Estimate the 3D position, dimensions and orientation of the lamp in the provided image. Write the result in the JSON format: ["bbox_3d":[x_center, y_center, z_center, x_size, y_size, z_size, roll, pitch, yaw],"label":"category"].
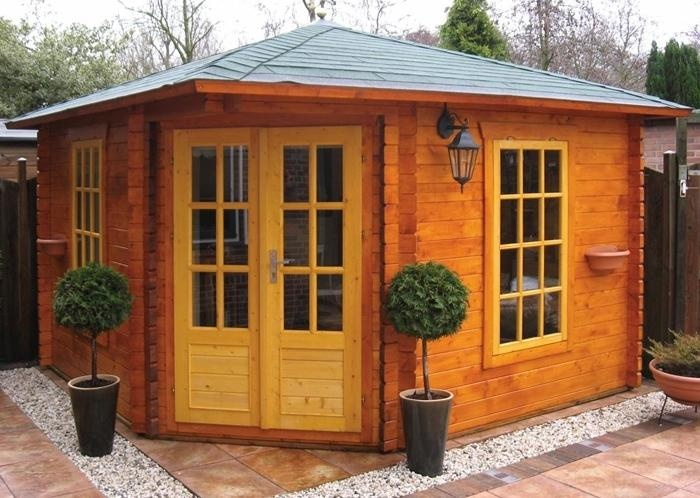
[{"bbox_3d":[1.052,-0.978,7.087,0.349,0.805,0.365,-6,14,-20],"label":"lamp"}]

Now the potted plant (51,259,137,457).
[{"bbox_3d":[-2.454,1.056,7.088,0.657,1.794,0.573,-9,16,-32],"label":"potted plant"}]

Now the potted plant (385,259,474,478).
[{"bbox_3d":[0.689,1.103,6.747,0.765,1.848,0.658,1,13,7],"label":"potted plant"}]
